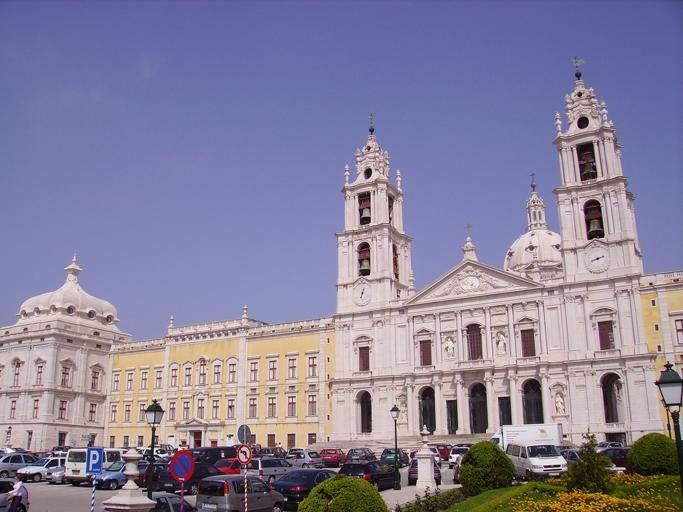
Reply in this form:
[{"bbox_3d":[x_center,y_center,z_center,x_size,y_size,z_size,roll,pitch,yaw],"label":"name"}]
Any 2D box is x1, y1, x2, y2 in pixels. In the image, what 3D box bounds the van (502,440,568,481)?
[{"bbox_3d":[11.126,11.621,41.521,2.158,1.649,3.577,0,-26,-4],"label":"van"}]
